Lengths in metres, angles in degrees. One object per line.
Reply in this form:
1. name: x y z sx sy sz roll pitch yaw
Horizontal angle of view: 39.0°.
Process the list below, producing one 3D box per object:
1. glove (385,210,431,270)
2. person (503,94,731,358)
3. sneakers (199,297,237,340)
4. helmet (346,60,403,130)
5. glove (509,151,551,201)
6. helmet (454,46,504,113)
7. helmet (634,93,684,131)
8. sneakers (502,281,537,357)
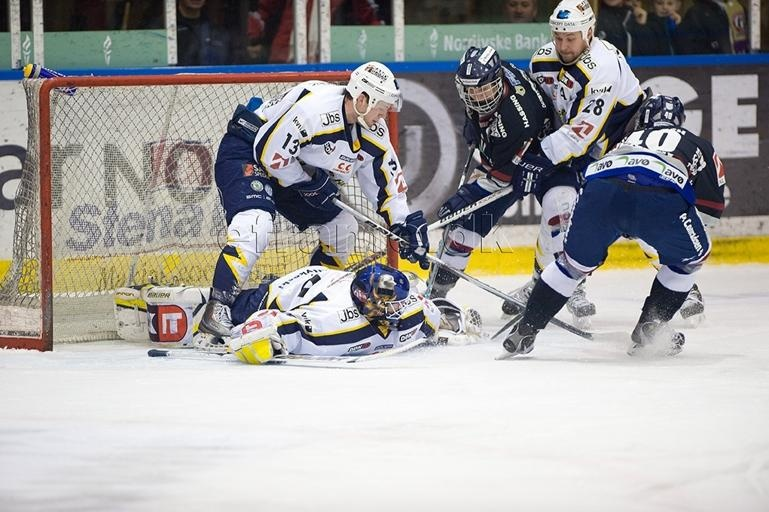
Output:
1. glove: 0.146 -0.102 6.648 0.308 0.318 0.153 2 1 -22
2. person: 1.358 -0.161 6.173 1.173 1.481 0.506 3 11 -2
3. sneakers: -0.957 0.358 6.215 0.187 0.208 0.157 -1 11 -20
4. helmet: -0.043 -0.932 6.336 0.379 0.374 0.303 -2 14 3
5. glove: 0.922 -0.514 6.839 0.217 0.263 0.142 24 25 -27
6. helmet: 0.557 -1.058 6.667 0.312 0.373 0.378 2 43 23
7. helmet: 1.612 -0.842 6.317 0.209 0.251 0.259 13 15 13
8. sneakers: 0.824 0.359 6.124 0.145 0.438 0.202 22 8 21
